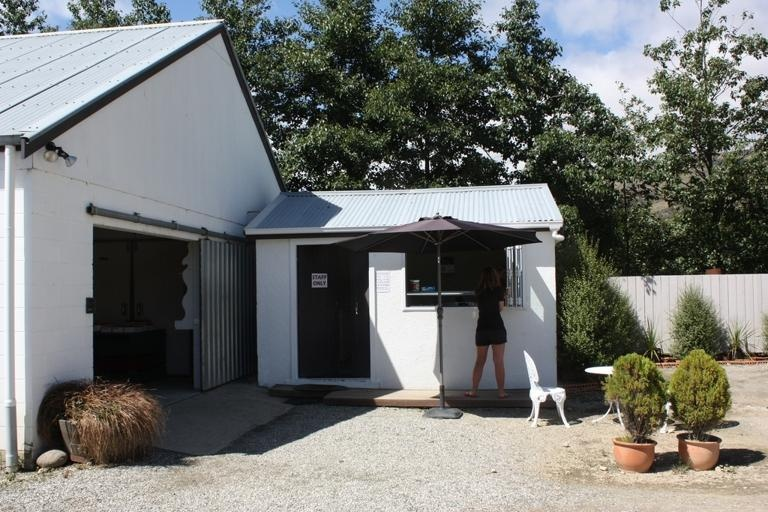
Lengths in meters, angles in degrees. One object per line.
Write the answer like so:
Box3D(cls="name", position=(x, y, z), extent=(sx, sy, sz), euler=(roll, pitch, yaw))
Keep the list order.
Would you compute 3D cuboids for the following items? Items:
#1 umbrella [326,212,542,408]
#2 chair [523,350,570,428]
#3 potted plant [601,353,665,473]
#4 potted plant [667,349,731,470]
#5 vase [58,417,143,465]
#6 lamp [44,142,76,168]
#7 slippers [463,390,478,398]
Box3D(cls="umbrella", position=(1.081, 1.163, 13.738), extent=(3.781, 3.771, 3.991), euler=(-2, -1, -30))
Box3D(cls="chair", position=(3.196, 2.580, 12.767), extent=(0.839, 1.374, 0.890), euler=(-2, -2, 15))
Box3D(cls="potted plant", position=(4.122, 2.546, 10.639), extent=(0.952, 1.840, 0.666), euler=(2, 9, 14))
Box3D(cls="potted plant", position=(5.231, 2.537, 10.834), extent=(1.004, 1.788, 1.026), euler=(6, -14, -8))
Box3D(cls="vase", position=(-4.954, 3.088, 10.859), extent=(0.723, 0.518, 0.610), euler=(1, -4, -1))
Box3D(cls="lamp", position=(-5.486, -1.685, 10.979), extent=(0.391, 0.232, 0.171), euler=(27, -25, -13))
Box3D(cls="slippers", position=(1.841, 2.954, 13.733), extent=(0.254, 0.247, 0.121), euler=(7, -2, 32))
